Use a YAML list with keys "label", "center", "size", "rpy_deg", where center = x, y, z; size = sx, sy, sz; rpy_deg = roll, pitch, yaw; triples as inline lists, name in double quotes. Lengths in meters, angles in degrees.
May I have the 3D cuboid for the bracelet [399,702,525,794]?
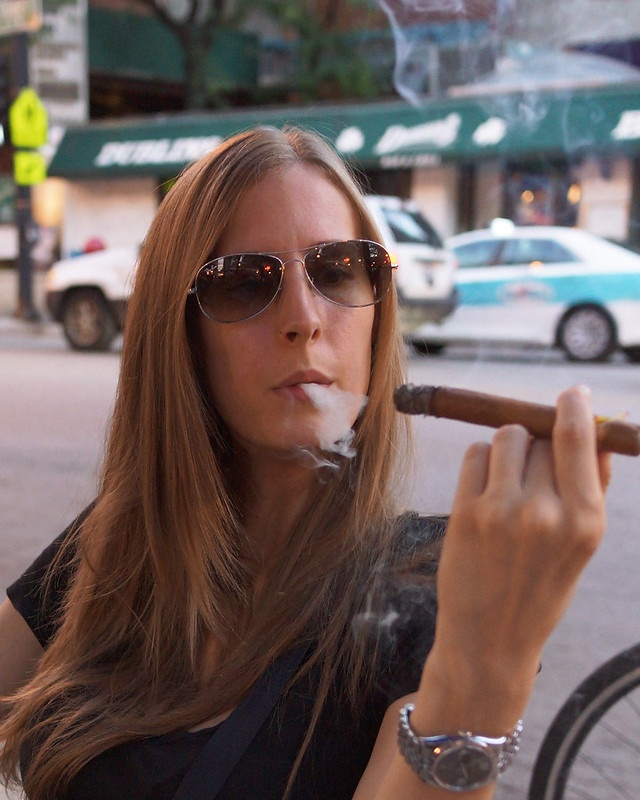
- label: "bracelet"
  center: [0.137, 0.335, 0.850]
  size: [0.089, 0.044, 0.089]
  rpy_deg: [5, 5, -10]
